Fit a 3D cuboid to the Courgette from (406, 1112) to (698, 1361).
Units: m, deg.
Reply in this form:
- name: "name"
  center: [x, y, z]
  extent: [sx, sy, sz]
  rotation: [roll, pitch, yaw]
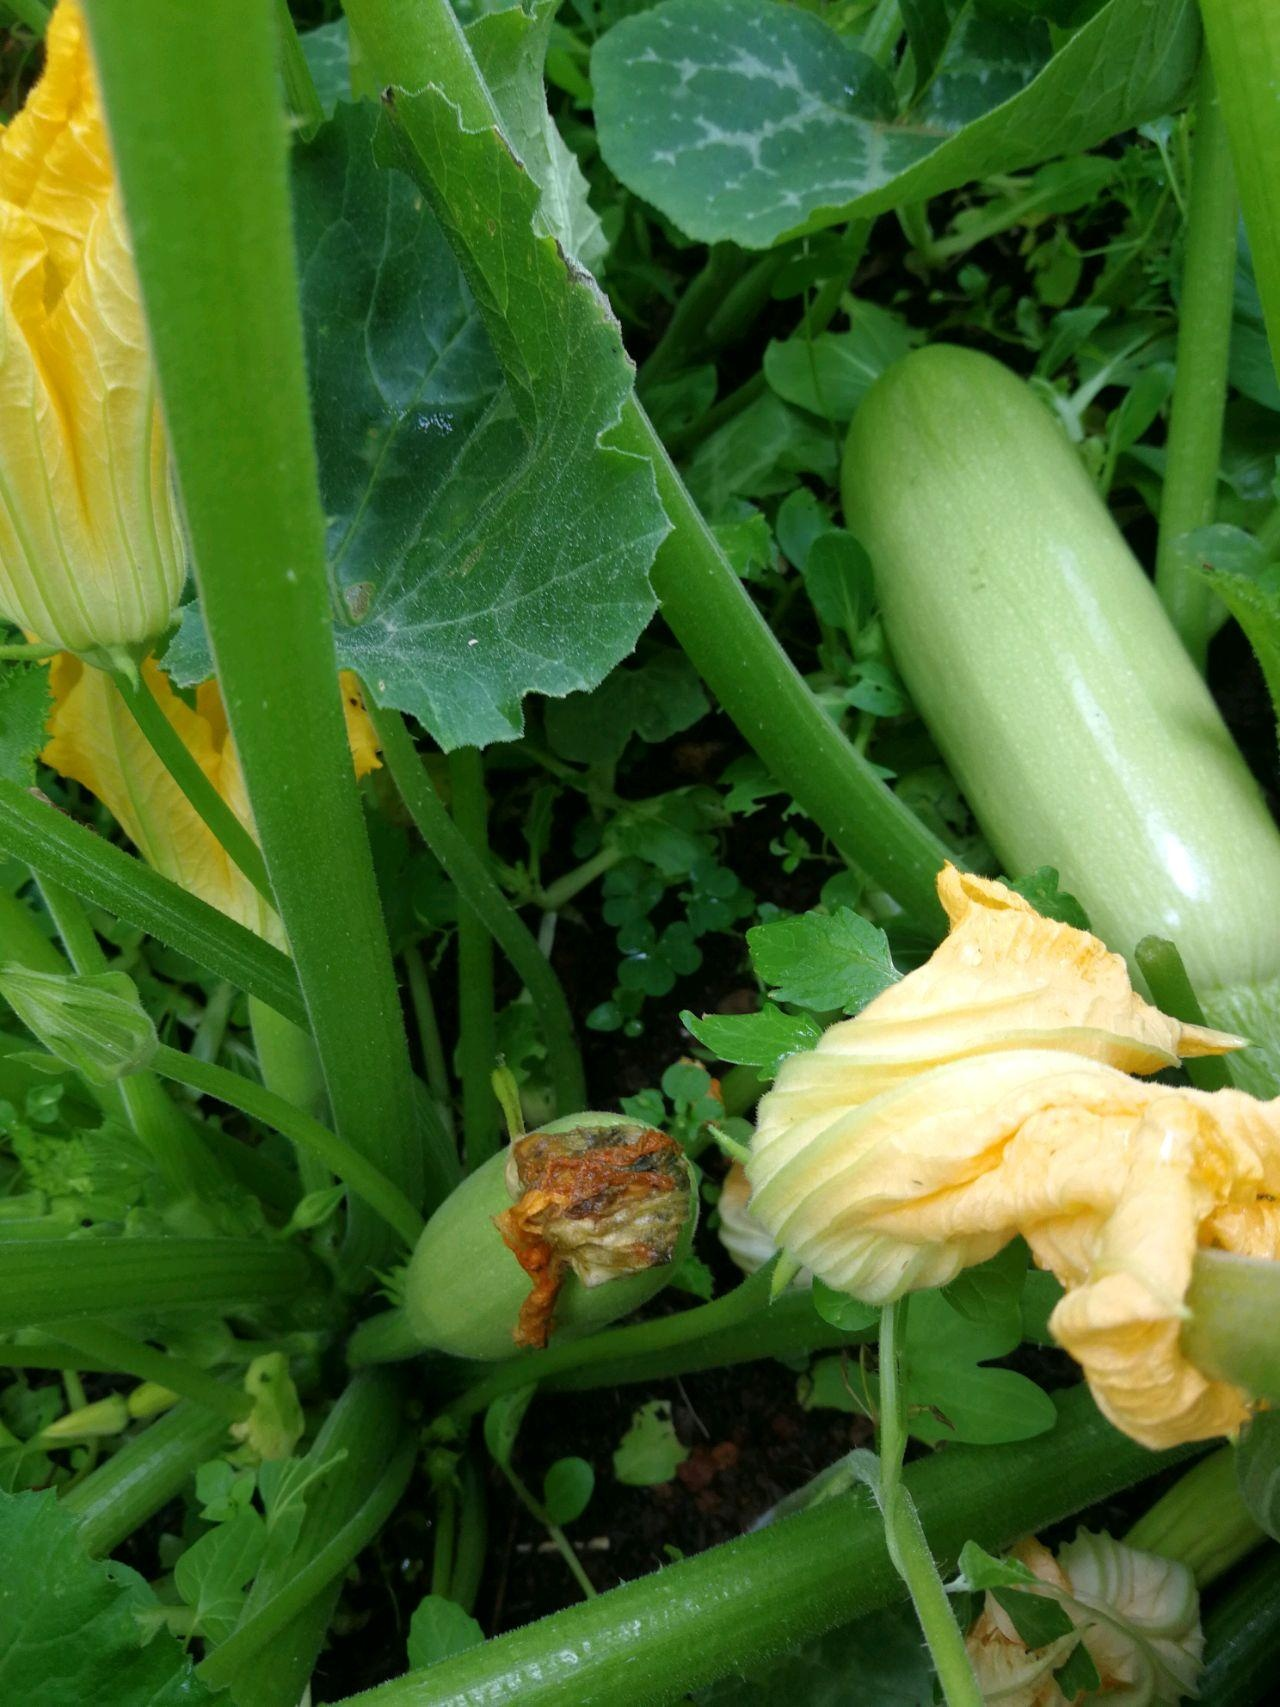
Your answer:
- name: "Courgette"
  center: [-0.072, 0.254, 1.038]
  extent: [0.238, 0.127, 0.121]
  rotation: [-18, 48, 21]

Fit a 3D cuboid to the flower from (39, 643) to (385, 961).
- name: "flower"
  center: [-0.284, -0.036, 1.006]
  extent: [0.172, 0.167, 0.138]
  rotation: [-33, 56, -1]
